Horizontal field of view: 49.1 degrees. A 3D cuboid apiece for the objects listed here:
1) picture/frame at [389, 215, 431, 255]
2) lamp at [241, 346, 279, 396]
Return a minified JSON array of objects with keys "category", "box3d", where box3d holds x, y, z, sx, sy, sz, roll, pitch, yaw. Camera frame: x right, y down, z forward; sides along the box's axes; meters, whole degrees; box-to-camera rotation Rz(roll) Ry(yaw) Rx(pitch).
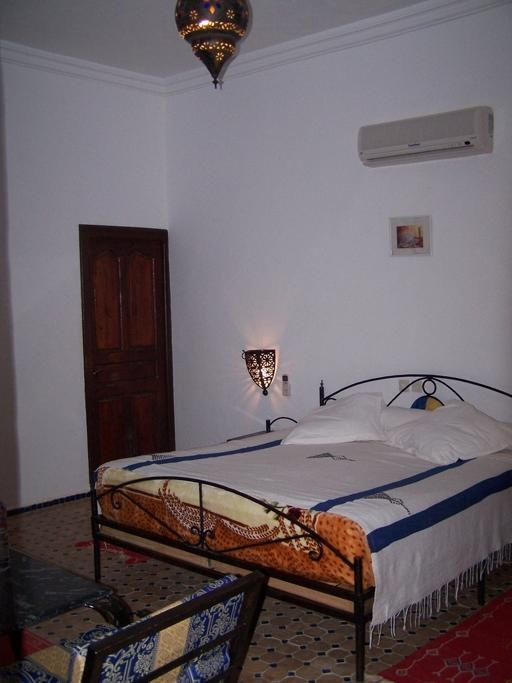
[{"category":"picture/frame","box3d":[1.078,-0.744,3.899,0.319,0.281,0.025,2,5,41]},{"category":"lamp","box3d":[0.041,0.249,4.763,0.423,0.487,0.213,-5,-4,9]}]
